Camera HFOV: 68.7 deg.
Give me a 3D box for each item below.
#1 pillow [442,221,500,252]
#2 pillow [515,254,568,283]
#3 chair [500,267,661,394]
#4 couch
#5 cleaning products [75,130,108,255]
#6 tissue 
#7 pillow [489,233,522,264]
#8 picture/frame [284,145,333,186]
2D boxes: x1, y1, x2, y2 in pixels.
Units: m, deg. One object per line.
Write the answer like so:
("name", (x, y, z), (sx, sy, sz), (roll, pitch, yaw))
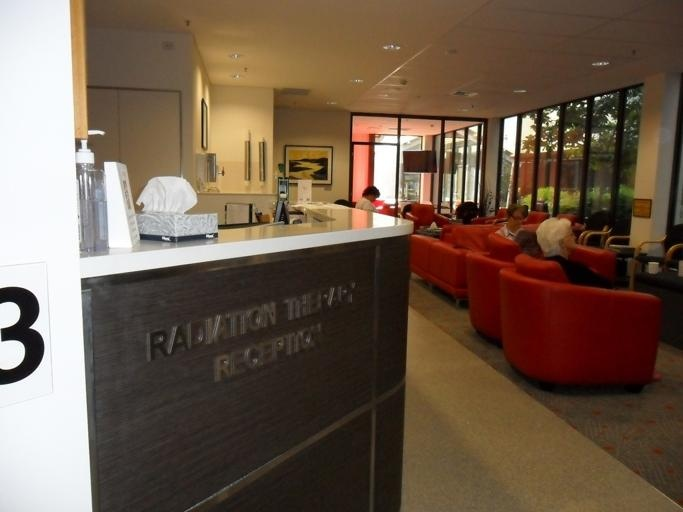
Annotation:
("pillow", (1.625, -0.262, 6.120), (0.503, 0.478, 0.494), (-6, 14, -18))
("pillow", (1.455, 0.097, 3.695), (0.216, 0.094, 0.227), (7, 15, 7))
("chair", (1.817, 0.538, 4.021), (0.993, 0.869, 1.101), (-3, 7, -7))
("couch", (1.385, 0.086, 6.727), (0.482, 0.550, 1.518), (-1, 12, -15))
("cleaning products", (-0.739, -0.163, 1.471), (0.080, 0.290, 0.126), (-6, 12, -24))
("tissue ", (-0.611, -0.162, 1.810), (0.185, 0.243, 0.249), (-7, 1, 28))
("pillow", (1.500, -0.074, 4.653), (0.181, 0.206, 0.363), (-3, 12, -14))
("picture/frame", (-0.832, -2.281, 12.567), (1.185, 1.011, 0.023), (1, -11, -4))
